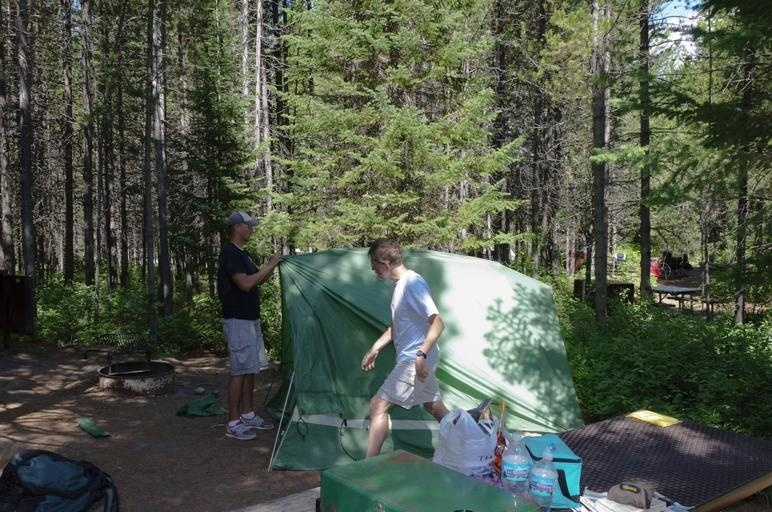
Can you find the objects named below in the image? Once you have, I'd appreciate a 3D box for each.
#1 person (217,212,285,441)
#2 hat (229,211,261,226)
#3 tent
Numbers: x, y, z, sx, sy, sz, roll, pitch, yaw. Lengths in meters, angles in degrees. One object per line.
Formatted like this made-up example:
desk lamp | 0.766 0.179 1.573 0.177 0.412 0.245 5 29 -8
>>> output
person | -2.502 1.232 12.299 0.946 3.983 0.505 2 1 -12
hat | -2.532 -0.652 12.324 0.431 0.163 0.268 2 6 -15
tent | 0.531 1.653 13.254 4.645 2.762 3.890 0 -1 -15
